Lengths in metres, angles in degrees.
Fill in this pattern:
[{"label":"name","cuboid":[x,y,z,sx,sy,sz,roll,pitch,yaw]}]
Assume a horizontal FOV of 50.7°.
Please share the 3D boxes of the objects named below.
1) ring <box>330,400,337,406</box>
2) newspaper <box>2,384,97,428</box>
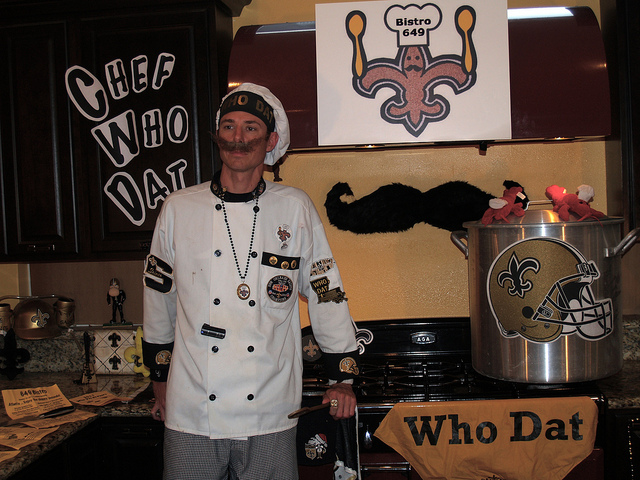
[{"label":"ring","cuboid":[0.052,0.588,2.413,0.017,0.018,0.005,1,-14,2]},{"label":"newspaper","cuboid":[-1.175,0.708,2.863,0.408,0.080,0.255,9,19,41]}]
